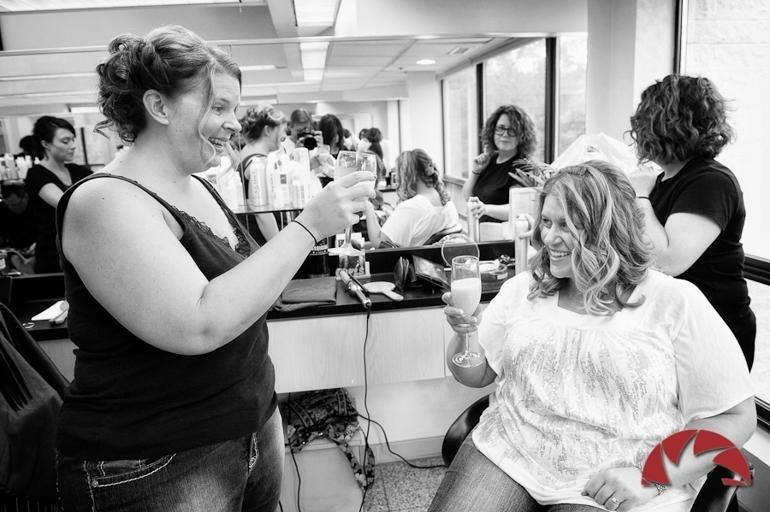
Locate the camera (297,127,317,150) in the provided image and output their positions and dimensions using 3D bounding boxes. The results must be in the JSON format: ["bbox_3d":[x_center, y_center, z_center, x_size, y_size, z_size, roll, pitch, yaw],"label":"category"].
[{"bbox_3d":[-0.404,-0.606,3.003,0.107,0.073,0.114,30,6,-23],"label":"camera"}]

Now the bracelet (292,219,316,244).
[{"bbox_3d":[-0.212,-0.062,1.514,0.014,0.059,0.059,-41,24,-9],"label":"bracelet"}]
